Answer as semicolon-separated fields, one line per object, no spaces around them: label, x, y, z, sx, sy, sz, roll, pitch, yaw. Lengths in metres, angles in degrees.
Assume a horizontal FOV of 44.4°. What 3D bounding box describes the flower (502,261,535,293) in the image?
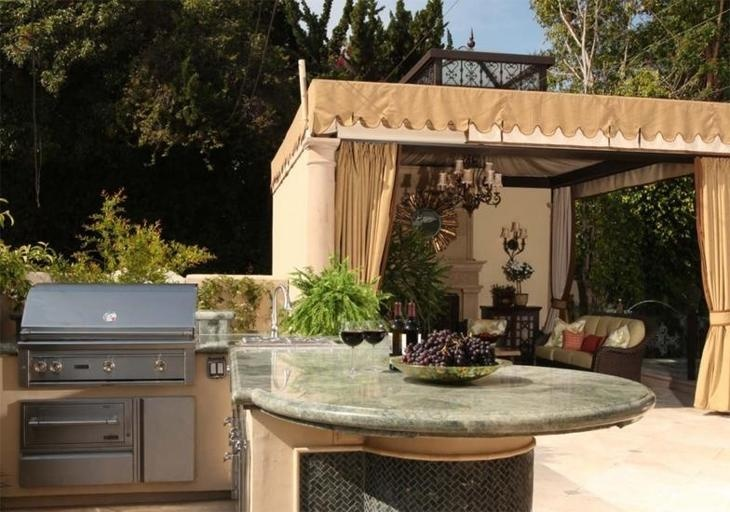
flower;2.887;0.328;16.842;0.602;0.692;0.524;3;-4;-37

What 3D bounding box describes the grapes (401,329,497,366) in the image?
grapes;0.747;0.822;8.025;0.831;0.318;0.208;0;-1;7

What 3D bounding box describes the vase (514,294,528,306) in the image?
vase;2.815;0.783;16.261;0.182;0.160;0.198;1;-6;-7

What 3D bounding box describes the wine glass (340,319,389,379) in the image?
wine glass;-0.026;0.843;8.431;0.289;0.578;0.360;5;-1;-22
